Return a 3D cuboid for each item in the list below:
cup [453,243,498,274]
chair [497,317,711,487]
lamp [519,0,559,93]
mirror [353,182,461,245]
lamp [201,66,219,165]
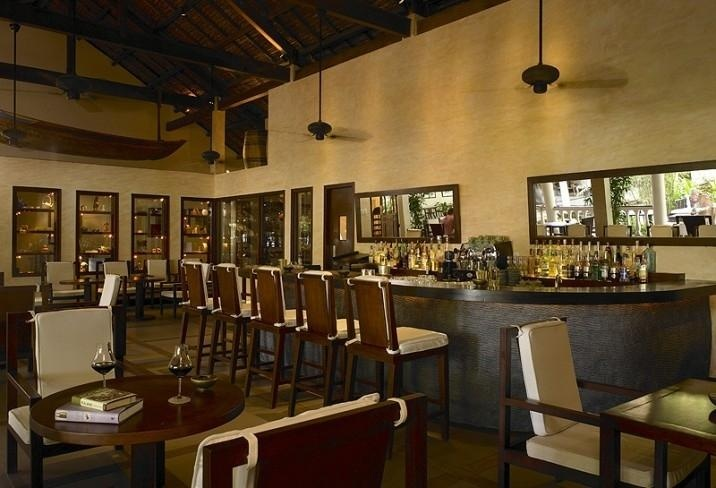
[{"bbox_3d":[1.302,0.169,5.726,0.345,0.335,0.478,-1,1,-36],"label":"cup"},{"bbox_3d":[1.807,1.077,4.151,1.107,1.541,1.512,1,-3,-42],"label":"chair"},{"bbox_3d":[2.186,-2.493,6.454,0.355,1.197,1.701,-3,-1,20],"label":"lamp"},{"bbox_3d":[0.761,-0.476,8.824,2.159,0.845,0.095,-4,-1,44],"label":"mirror"},{"bbox_3d":[-3.462,-3.032,12.236,0.691,2.340,0.367,-2,-11,-5],"label":"lamp"}]
